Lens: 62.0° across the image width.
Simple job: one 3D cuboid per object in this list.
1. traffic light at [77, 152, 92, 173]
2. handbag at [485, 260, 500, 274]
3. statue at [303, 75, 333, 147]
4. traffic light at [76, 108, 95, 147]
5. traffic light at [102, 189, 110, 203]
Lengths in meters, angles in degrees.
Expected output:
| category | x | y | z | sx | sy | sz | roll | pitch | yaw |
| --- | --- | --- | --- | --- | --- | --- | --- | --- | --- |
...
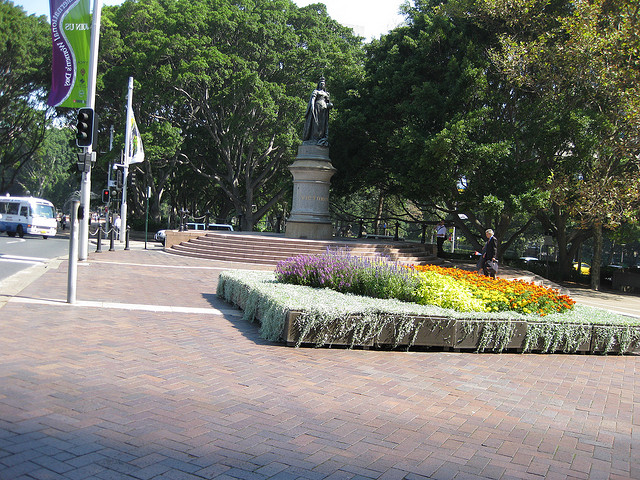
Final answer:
| category | x | y | z | sx | sy | sz | roll | pitch | yaw |
| --- | --- | --- | --- | --- | --- | --- | --- | --- | --- |
| traffic light | -5.879 | -1.940 | 13.218 | 0.300 | 0.465 | 0.658 | 1 | 6 | -26 |
| handbag | 5.551 | 0.889 | 17.198 | 0.412 | 0.546 | 0.744 | 5 | 5 | 13 |
| statue | -0.101 | -5.968 | 24.681 | 1.113 | 3.242 | 0.878 | 4 | 5 | 8 |
| traffic light | -5.215 | -2.517 | 11.816 | 0.347 | 0.882 | 0.621 | 1 | 6 | -25 |
| traffic light | -11.585 | -2.399 | 28.771 | 0.317 | 0.667 | 1.059 | 1 | 6 | -24 |
